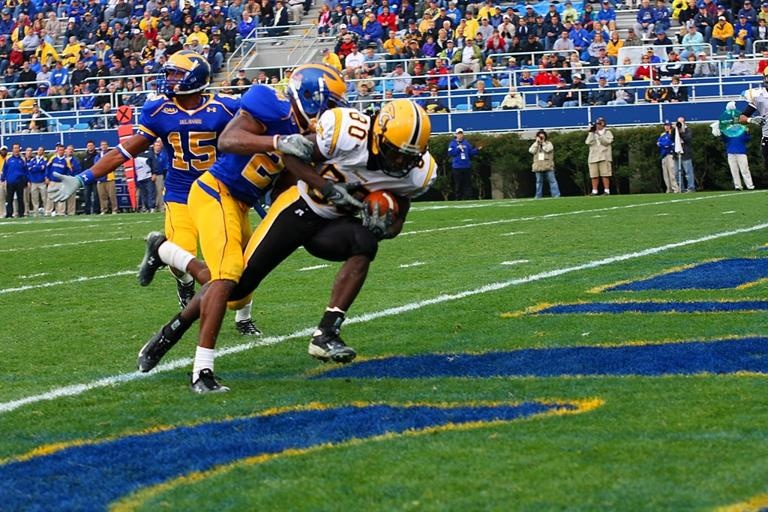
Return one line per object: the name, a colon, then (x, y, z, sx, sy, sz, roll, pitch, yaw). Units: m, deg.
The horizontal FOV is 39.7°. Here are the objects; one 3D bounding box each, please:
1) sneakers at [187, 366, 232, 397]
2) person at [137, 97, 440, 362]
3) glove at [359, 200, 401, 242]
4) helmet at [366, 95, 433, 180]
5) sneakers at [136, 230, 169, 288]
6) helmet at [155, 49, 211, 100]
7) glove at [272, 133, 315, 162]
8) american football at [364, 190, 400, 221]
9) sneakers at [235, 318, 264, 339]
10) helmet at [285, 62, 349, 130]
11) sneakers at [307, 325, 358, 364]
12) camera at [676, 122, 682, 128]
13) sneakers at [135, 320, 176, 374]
sneakers: (-1.061, 0.772, 6.459, 0.263, 0.093, 0.123, -3, -1, 43)
person: (-0.693, -0.113, 7.185, 2.496, 1.456, 1.007, -5, -18, 39)
glove: (-0.023, -0.217, 6.825, 0.218, 0.197, 0.262, 0, 22, -7)
helmet: (0.121, -0.794, 6.860, 0.408, 0.404, 0.492, 7, 35, -22)
sneakers: (-1.592, 0.011, 7.310, 0.213, 0.395, 0.152, 18, 4, 2)
helmet: (-1.420, -1.311, 7.627, 0.446, 0.288, 0.315, -8, 15, -33)
glove: (-0.573, -0.658, 6.646, 0.225, 0.148, 0.084, 21, -34, -25)
american football: (0.000, -0.310, 6.851, 0.201, 0.147, 0.198, 9, -4, 19)
sneakers: (-1.006, 0.536, 7.797, 0.264, 0.100, 0.088, 8, 41, -3)
helmet: (-0.441, -1.093, 7.127, 0.458, 0.346, 0.340, 5, 1, -18)
sneakers: (-0.317, 0.547, 6.712, 0.165, 0.184, 0.408, 6, 1, -38)
camera: (5.216, -2.285, 18.815, 0.095, 0.074, 0.091, 19, 6, 22)
sneakers: (-1.520, 0.615, 7.056, 0.391, 0.129, 0.160, -45, 26, -22)
